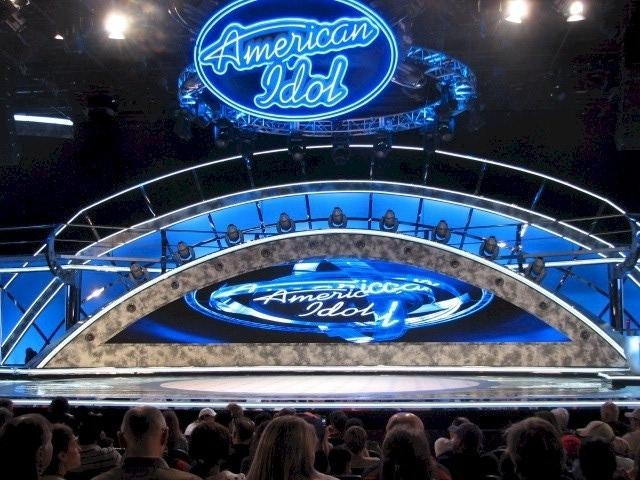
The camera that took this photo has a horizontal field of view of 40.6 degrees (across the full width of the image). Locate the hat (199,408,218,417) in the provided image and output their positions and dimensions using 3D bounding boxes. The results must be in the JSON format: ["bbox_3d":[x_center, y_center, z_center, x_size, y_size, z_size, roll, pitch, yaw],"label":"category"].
[{"bbox_3d":[-2.785,4.320,21.528,0.448,0.171,0.514,1,-8,-6],"label":"hat"}]

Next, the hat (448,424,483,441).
[{"bbox_3d":[3.086,4.189,18.809,0.681,0.281,0.468,8,-3,41],"label":"hat"}]

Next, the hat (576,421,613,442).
[{"bbox_3d":[6.154,4.309,19.396,0.924,0.406,0.665,-5,-21,31],"label":"hat"}]
